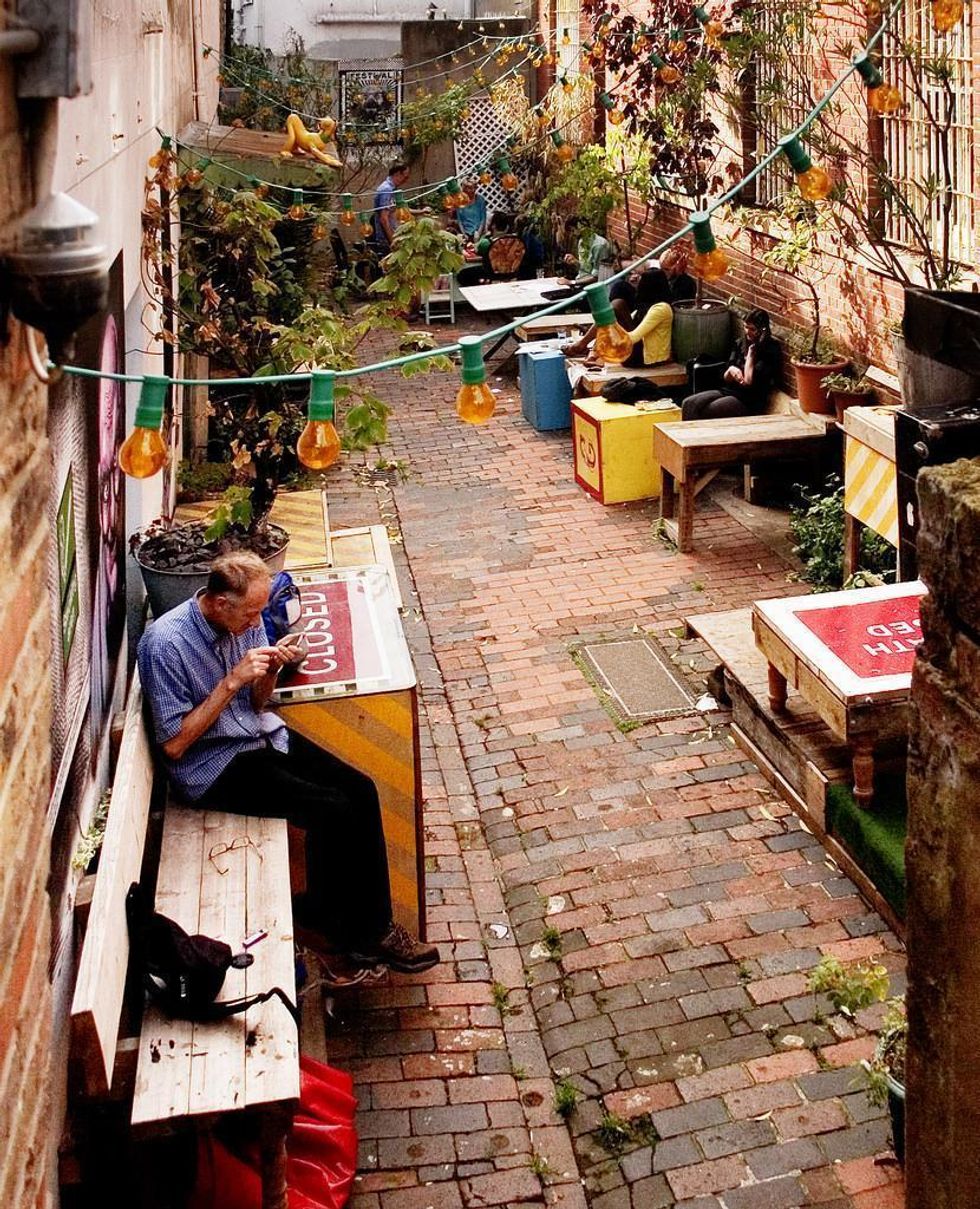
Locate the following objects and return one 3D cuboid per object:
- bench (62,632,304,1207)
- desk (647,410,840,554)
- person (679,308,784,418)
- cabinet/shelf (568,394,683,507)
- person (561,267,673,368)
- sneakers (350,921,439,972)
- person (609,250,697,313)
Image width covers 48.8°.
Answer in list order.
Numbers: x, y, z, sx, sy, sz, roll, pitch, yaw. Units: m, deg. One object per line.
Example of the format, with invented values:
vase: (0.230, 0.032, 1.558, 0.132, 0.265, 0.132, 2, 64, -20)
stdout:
bench: (-1.032, 1.065, 3.625, 0.527, 0.718, 1.859, -2, 29, -12)
desk: (2.310, -1.133, 9.875, 1.535, 0.909, 0.784, -8, 23, -14)
person: (2.379, -2.192, 10.769, 0.991, 1.354, 0.597, -2, 22, -6)
cabinet/shelf: (1.314, -1.557, 11.057, 1.154, 1.068, 1.079, -1, 7, -8)
person: (1.537, -3.287, 12.381, 1.471, 0.998, 0.797, 10, 11, 20)
sneakers: (-0.449, 1.606, 5.074, 0.391, 0.174, 0.173, -4, 12, -11)
person: (1.944, -3.791, 12.980, 0.846, 0.406, 1.072, -12, -7, -12)
